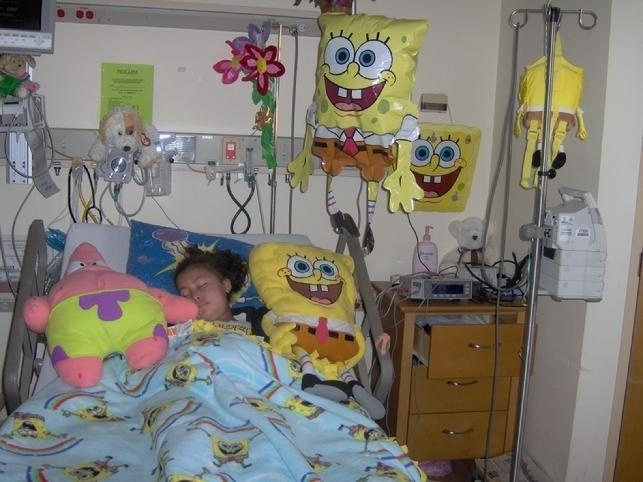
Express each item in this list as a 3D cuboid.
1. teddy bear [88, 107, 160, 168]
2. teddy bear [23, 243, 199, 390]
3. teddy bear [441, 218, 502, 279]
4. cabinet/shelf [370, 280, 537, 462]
[{"bbox_3d":[-0.904,-0.444,2.655,0.342,0.335,0.209,-2,9,-39],"label":"teddy bear"},{"bbox_3d":[-0.761,0.257,2.058,0.476,0.425,0.414,2,9,17],"label":"teddy bear"},{"bbox_3d":[0.754,0.030,2.904,0.298,0.275,0.606,2,9,18],"label":"teddy bear"},{"bbox_3d":[0.559,0.594,2.990,0.637,1.000,0.721,-1,9,-8],"label":"cabinet/shelf"}]
